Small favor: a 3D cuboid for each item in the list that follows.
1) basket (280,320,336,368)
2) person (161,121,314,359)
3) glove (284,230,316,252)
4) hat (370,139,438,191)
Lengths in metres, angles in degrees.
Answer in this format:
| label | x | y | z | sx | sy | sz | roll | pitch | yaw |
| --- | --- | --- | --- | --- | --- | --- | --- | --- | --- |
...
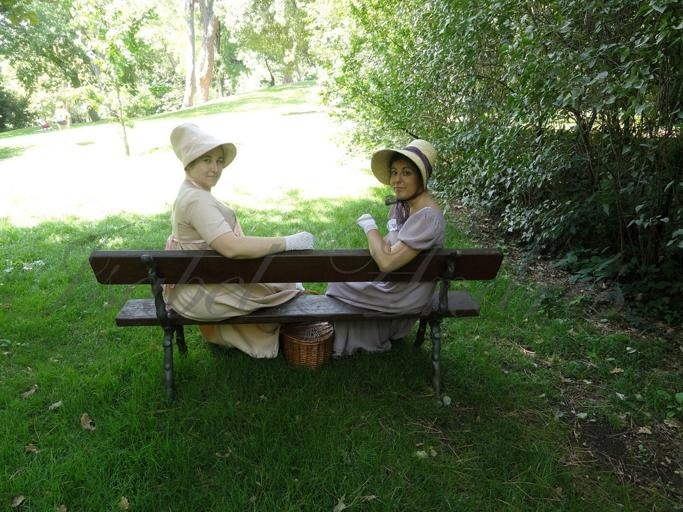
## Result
| label | x | y | z | sx | sy | sz | roll | pitch | yaw |
| --- | --- | --- | --- | --- | --- | --- | --- | --- | --- |
| basket | -0.311 | 0.821 | 5.111 | 0.394 | 0.365 | 0.450 | 0 | 2 | -6 |
| person | -0.971 | -0.029 | 5.082 | 1.321 | 2.329 | 1.111 | -4 | 16 | -22 |
| glove | -0.357 | -0.137 | 4.574 | 0.245 | 0.141 | 0.213 | 1 | 16 | -7 |
| hat | 0.566 | -0.891 | 4.975 | 0.425 | 0.293 | 0.596 | 31 | -31 | -7 |
